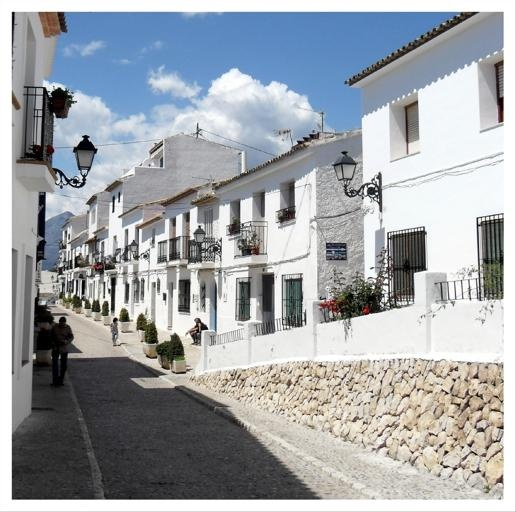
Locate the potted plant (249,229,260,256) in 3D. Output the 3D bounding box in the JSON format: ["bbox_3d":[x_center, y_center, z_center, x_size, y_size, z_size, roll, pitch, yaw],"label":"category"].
[{"bbox_3d":[-0.090,-0.407,19.415,0.298,0.798,0.525,0,-6,-8],"label":"potted plant"}]

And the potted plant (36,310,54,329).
[{"bbox_3d":[-8.092,2.433,23.952,0.720,1.005,0.859,2,-2,-21],"label":"potted plant"}]

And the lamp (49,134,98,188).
[{"bbox_3d":[-3.086,-1.581,10.680,0.667,1.115,0.352,3,-24,-13],"label":"lamp"}]

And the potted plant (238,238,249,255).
[{"bbox_3d":[-0.464,-0.241,19.825,0.245,0.577,0.999,0,-7,-12],"label":"potted plant"}]

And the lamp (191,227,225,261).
[{"bbox_3d":[-2.002,-0.487,23.173,1.278,1.396,0.564,1,7,41],"label":"lamp"}]

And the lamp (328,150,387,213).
[{"bbox_3d":[2.086,-1.469,12.890,0.811,1.360,0.451,1,-14,4],"label":"lamp"}]

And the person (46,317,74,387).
[{"bbox_3d":[-4.729,2.319,15.235,0.482,1.648,1.128,1,-6,-18],"label":"person"}]

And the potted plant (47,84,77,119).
[{"bbox_3d":[-3.383,-2.747,10.970,0.279,0.398,0.500,6,3,1],"label":"potted plant"}]
